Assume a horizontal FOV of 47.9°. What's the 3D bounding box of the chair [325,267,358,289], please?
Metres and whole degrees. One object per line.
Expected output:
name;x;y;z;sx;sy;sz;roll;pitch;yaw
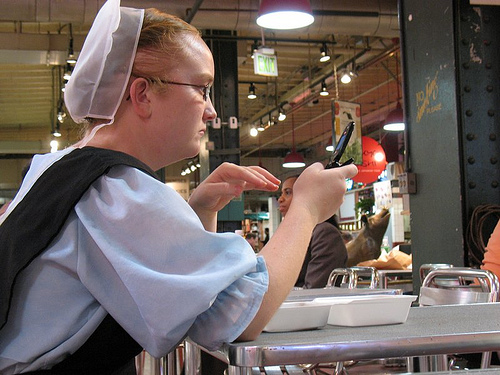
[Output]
chair;0.630;0.620;3.891;0.178;0.167;0.192;1;-14;-4

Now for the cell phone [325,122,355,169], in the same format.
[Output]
cell phone;0.263;-0.149;1.807;0.032;0.134;0.104;30;-1;37

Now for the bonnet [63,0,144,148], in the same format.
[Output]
bonnet;-0.387;-0.339;1.673;0.238;0.441;0.109;9;0;44
